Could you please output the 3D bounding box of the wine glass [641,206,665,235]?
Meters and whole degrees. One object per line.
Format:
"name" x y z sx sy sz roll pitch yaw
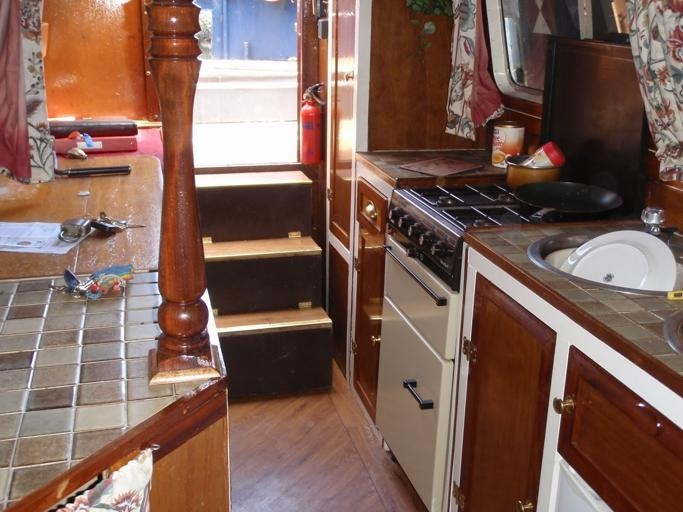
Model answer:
"wine glass" 0.991 -0.108 1.661 0.070 0.098 0.068 -22 23 -22

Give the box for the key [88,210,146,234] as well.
"key" -0.824 -0.112 1.894 0.134 0.034 0.091 12 22 8

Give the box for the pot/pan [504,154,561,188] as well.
"pot/pan" 0.800 -0.385 2.251 0.196 0.145 0.231 13 23 30

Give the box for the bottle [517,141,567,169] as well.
"bottle" 0.851 -0.427 2.201 0.174 0.094 0.207 5 19 21

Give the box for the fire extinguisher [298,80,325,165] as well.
"fire extinguisher" -0.185 -0.834 3.360 0.172 0.516 0.171 -1 17 3

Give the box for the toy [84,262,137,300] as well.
"toy" -0.642 0.048 1.454 0.127 0.079 0.125 -8 25 -25

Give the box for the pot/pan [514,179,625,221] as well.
"pot/pan" 0.865 -0.262 2.032 0.376 0.140 0.407 -3 20 -17

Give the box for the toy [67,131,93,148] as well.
"toy" -1.462 -0.650 2.929 0.126 0.089 0.098 -12 20 -28
